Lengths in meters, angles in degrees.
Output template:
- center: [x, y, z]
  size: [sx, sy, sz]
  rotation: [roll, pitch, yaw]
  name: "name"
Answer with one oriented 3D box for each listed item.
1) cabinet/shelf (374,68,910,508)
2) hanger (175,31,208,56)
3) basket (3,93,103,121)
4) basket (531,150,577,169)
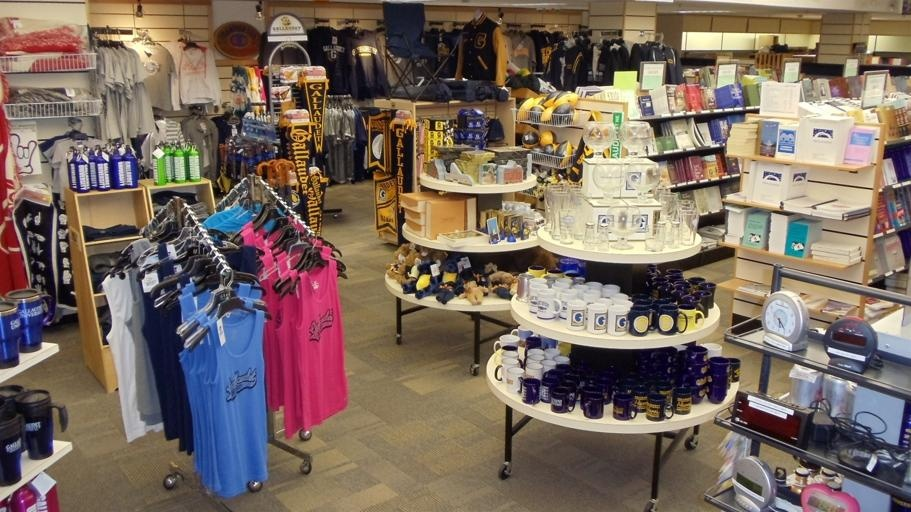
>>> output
- center: [1.799, 0.289, 5.743]
  size: [3.006, 2.712, 4.616]
  rotation: [-5, 10, -36]
  name: "cabinet/shelf"
- center: [-4.877, -3.924, 10.948]
  size: [0.514, 0.251, 0.392]
  rotation: [27, 23, 15]
  name: "hanger"
- center: [-4.478, -1.653, 6.678]
  size: [0.899, 0.211, 0.208]
  rotation: [-8, 18, -17]
  name: "basket"
- center: [1.252, -1.271, 7.844]
  size: [0.305, 0.145, 0.464]
  rotation: [-8, 23, -35]
  name: "basket"
